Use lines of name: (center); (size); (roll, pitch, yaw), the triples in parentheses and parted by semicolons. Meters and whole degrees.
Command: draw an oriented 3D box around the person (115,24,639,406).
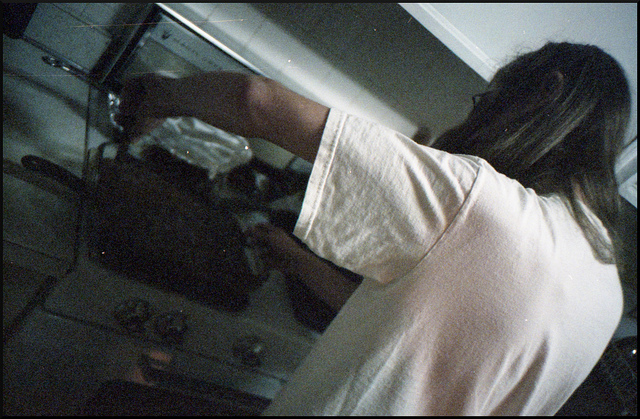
person: (0.333, -0.078, 1.308); (1.126, 0.684, 0.265); (4, 18, 4)

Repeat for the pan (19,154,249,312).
pan: (-0.331, 0.035, 1.148); (0.550, 0.254, 0.130); (19, 23, -4)
